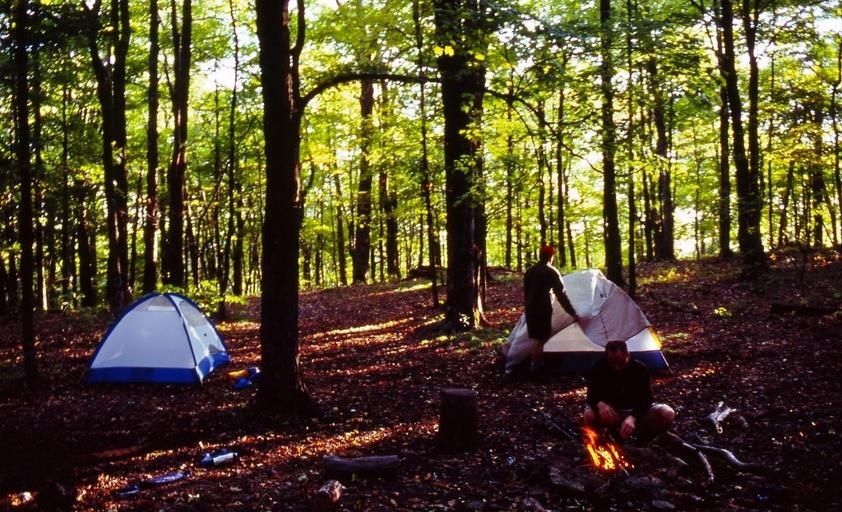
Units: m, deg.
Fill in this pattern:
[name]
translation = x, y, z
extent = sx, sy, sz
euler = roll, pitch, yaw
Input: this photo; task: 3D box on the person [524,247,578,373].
[person]
translation = 3.579, 1.434, 22.732
extent = 1.258, 2.697, 0.476
euler = -3, 1, -13
